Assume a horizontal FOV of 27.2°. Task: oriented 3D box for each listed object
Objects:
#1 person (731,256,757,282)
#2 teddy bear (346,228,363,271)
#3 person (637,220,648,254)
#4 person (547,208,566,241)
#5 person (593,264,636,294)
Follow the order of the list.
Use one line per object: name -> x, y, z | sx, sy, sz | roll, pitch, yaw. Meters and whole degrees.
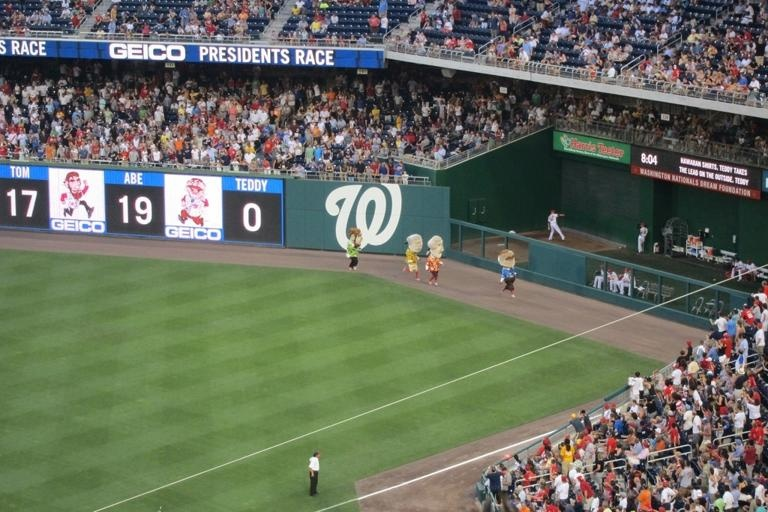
person -> 15.636, 0.590, 68.822 | 1.934, 1.060, 0.619 | 4, 2, 35
teddy bear -> -1.415, -0.424, 71.930 | 0.614, 1.861, 1.046 | 0, 19, -3
person -> 11.899, -0.820, 73.170 | 0.419, 1.401, 0.362 | -10, 22, -28
person -> 8.184, -1.534, 75.834 | 0.817, 1.418, 2.576 | 2, 19, 5
person -> 9.806, 1.010, 67.898 | 1.953, 0.996, 1.274 | 10, 10, 35
